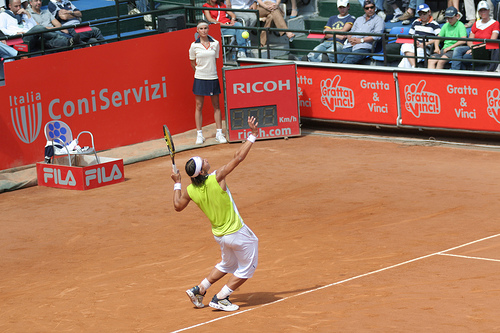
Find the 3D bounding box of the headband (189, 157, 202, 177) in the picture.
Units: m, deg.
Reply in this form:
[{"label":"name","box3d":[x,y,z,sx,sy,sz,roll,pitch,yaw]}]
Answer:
[{"label":"headband","box3d":[-0.889,0.003,12.329,0.162,0.309,0.180,-17,18,-41]}]

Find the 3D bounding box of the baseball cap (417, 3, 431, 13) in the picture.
[{"label":"baseball cap","box3d":[4.875,-4.474,21.134,0.307,0.235,0.432,-2,-7,21]}]

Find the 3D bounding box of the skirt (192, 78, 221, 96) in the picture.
[{"label":"skirt","box3d":[-1.193,-2.076,20.525,0.779,0.517,0.447,0,4,-4]}]

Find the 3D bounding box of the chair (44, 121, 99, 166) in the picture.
[{"label":"chair","box3d":[-4.519,-0.533,18.578,1.085,1.439,1.006,-10,-12,40]}]

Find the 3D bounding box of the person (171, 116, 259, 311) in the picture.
[{"label":"person","box3d":[-0.537,1.072,12.628,1.286,2.715,0.703,-5,14,-1]}]

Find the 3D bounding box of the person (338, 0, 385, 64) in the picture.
[{"label":"person","box3d":[3.164,-3.884,21.501,1.228,1.739,1.336,3,16,29]}]
